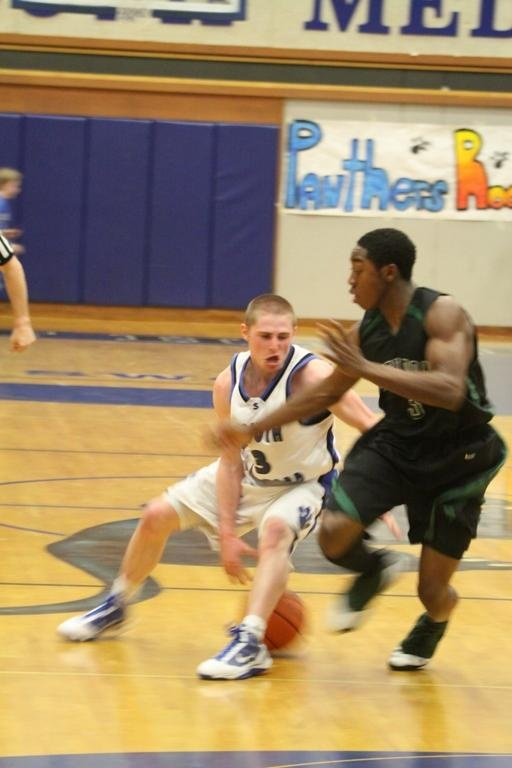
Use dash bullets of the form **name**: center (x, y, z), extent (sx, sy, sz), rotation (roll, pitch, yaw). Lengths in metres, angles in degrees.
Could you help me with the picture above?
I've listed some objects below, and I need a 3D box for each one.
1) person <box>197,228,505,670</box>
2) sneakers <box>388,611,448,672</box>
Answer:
- **person**: center (0.353, 0.167, 1.688), extent (0.437, 0.806, 0.656), rotation (4, -2, 21)
- **sneakers**: center (0.424, 0.644, 1.833), extent (0.080, 0.088, 0.227), rotation (-8, 6, 44)
